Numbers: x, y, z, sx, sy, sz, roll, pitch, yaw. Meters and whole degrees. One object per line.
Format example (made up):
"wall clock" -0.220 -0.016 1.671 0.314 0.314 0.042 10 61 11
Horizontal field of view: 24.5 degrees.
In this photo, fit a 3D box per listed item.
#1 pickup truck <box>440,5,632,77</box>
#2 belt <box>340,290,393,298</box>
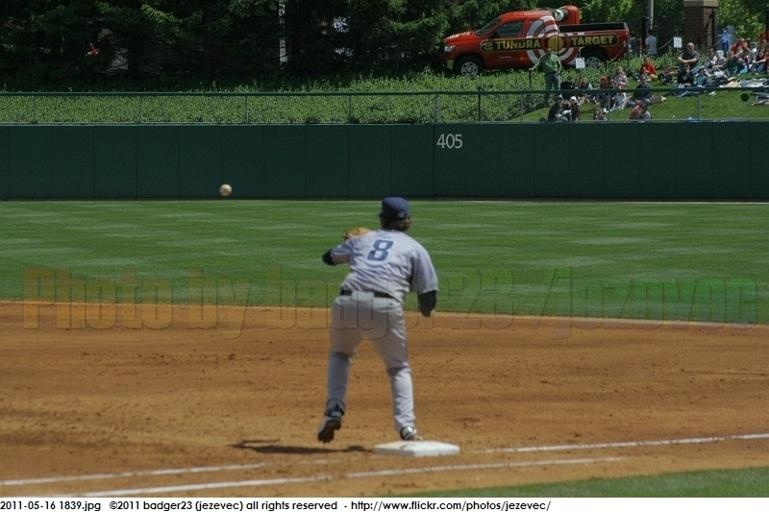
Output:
"pickup truck" 5.876 -8.848 71.984 7.606 2.584 3.061 2 14 5
"belt" -0.571 0.953 43.218 1.309 0.218 0.111 1 12 7
